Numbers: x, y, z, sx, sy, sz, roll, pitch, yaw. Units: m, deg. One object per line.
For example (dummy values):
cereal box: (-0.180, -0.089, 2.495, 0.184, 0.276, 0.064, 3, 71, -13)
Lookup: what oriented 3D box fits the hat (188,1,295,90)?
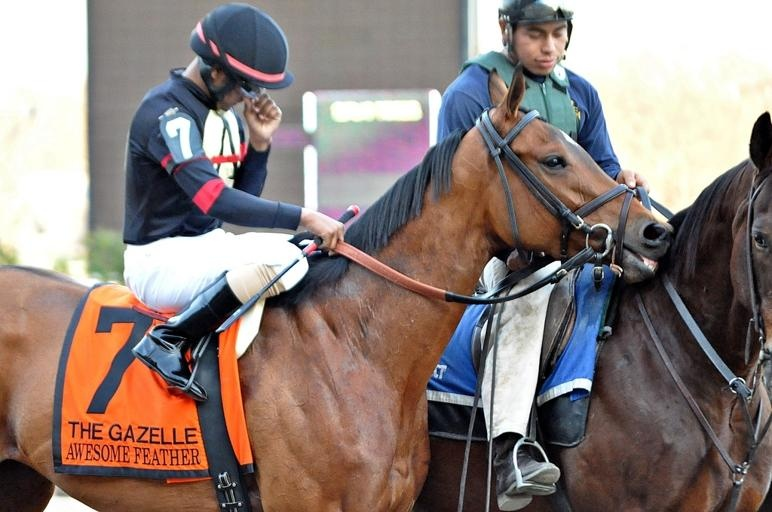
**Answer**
hat: (-0.916, -1.395, 9.865, 0.645, 0.369, 0.479, 22, 28, 0)
